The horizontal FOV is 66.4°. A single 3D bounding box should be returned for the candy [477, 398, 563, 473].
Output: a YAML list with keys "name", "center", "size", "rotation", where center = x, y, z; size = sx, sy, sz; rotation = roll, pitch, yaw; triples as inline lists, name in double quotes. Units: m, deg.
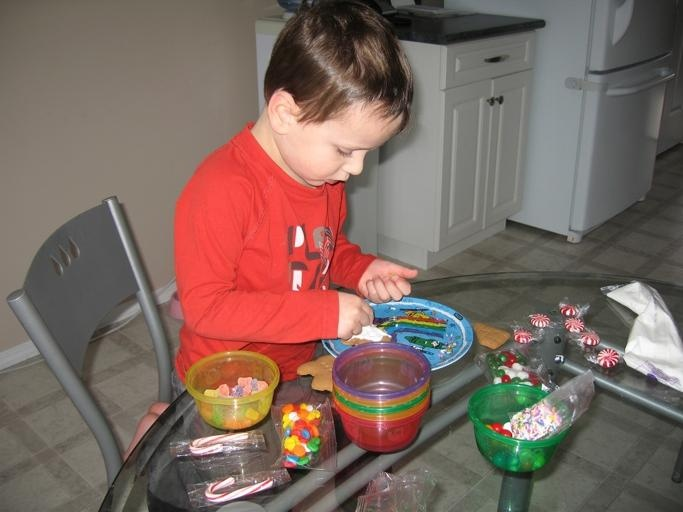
- name: "candy"
  center: [0.256, 0.254, 0.741]
  size: [0.090, 0.039, 0.090]
  rotation: [-5, 24, -8]

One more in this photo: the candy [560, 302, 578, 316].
- name: "candy"
  center: [0.493, 0.116, 1.137]
  size: [0.026, 0.011, 0.026]
  rotation: [-5, 30, 2]

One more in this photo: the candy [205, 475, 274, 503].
- name: "candy"
  center: [-0.157, 0.342, 0.759]
  size: [0.072, 0.014, 0.036]
  rotation: [-10, 26, -23]

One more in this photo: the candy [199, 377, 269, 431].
- name: "candy"
  center: [-0.164, 0.235, 0.841]
  size: [0.085, 0.036, 0.085]
  rotation: [-1, 26, -1]

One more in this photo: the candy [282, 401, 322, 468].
- name: "candy"
  center: [-0.061, 0.278, 0.820]
  size: [0.066, 0.055, 0.090]
  rotation: [-6, 29, -3]

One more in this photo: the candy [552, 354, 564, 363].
- name: "candy"
  center: [0.423, 0.201, 1.015]
  size: [0.014, 0.007, 0.018]
  rotation: [13, 68, 18]

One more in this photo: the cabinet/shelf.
- name: "cabinet/shelf"
  center: [0.610, -0.698, 2.823]
  size: [0.722, 1.000, 0.529]
  rotation: [-23, 33, -30]

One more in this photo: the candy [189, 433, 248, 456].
- name: "candy"
  center: [-0.192, 0.296, 0.822]
  size: [0.081, 0.014, 0.037]
  rotation: [-5, 15, 3]
